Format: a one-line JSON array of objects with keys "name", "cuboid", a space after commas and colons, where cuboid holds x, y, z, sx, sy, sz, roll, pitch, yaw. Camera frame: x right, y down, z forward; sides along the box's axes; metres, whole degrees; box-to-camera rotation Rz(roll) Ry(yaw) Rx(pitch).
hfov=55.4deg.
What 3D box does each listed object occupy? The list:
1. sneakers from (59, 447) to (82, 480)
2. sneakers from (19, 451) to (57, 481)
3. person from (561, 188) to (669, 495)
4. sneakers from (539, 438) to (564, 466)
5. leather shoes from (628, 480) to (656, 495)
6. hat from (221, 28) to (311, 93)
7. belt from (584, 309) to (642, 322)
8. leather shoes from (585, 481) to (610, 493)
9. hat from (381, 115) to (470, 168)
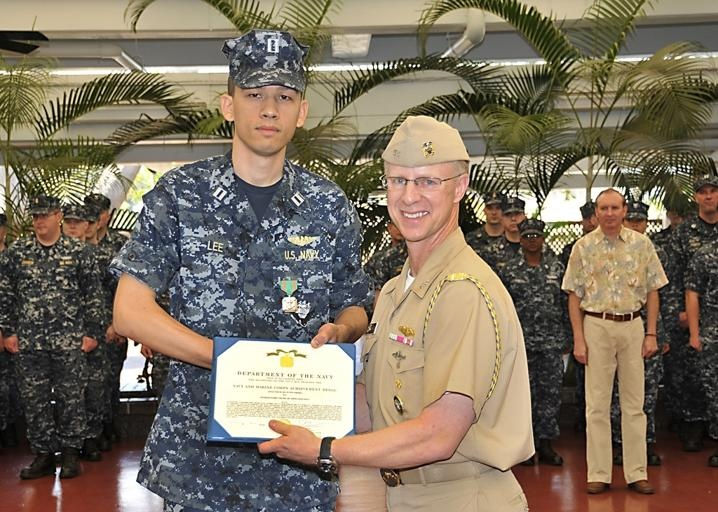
[{"name": "sneakers", "cuboid": [-2.855, 2.000, 6.693, 0.182, 0.253, 0.298, -1, 0, -21]}, {"name": "sneakers", "cuboid": [-3.128, 2.032, 6.668, 0.202, 0.195, 0.373, -1, 0, 36]}, {"name": "person", "cuboid": [2.254, 0.732, 6.031, 0.850, 2.401, 0.485, -1, 0, 17]}, {"name": "sneakers", "cuboid": [1.948, 1.985, 6.926, 0.267, 0.209, 0.263, -1, 0, 22]}, {"name": "leather shoes", "cuboid": [2.476, 2.001, 5.922, 0.098, 0.107, 0.268, 1, -7, -38]}, {"name": "hat", "cuboid": [-0.403, -0.851, 2.953, 0.308, 0.167, 0.317, -3, 13, -20]}, {"name": "belt", "cuboid": [2.226, 0.524, 5.977, 0.456, 0.081, 0.153, -1, 0, 18]}, {"name": "leather shoes", "cuboid": [2.119, 2.015, 6.005, 0.208, 0.090, 0.164, -1, 0, 7]}, {"name": "hat", "cuboid": [0.279, -0.458, 2.772, 0.259, 0.135, 0.255, 2, -1, 18]}]
